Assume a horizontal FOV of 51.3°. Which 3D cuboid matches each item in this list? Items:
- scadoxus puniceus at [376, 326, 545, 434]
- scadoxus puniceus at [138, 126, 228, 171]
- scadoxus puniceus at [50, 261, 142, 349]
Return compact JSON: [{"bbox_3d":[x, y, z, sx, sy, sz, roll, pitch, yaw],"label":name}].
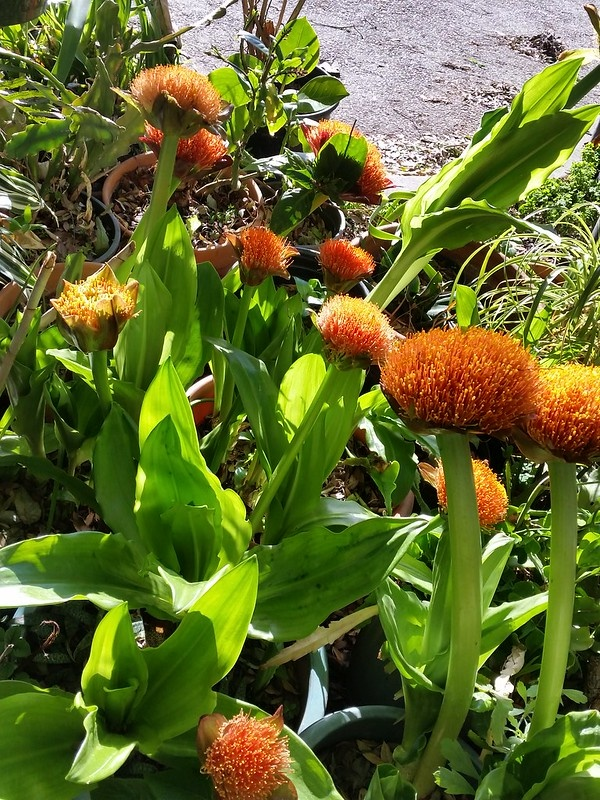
[{"bbox_3d":[0.107,-0.021,0.424,0.082,0.043,0.084,28,46,33],"label":"scadoxus puniceus"},{"bbox_3d":[-0.127,-0.273,0.707,0.074,0.040,0.072,32,8,30],"label":"scadoxus puniceus"},{"bbox_3d":[-0.154,-0.071,0.509,0.066,0.056,0.060,-23,49,-35],"label":"scadoxus puniceus"}]
